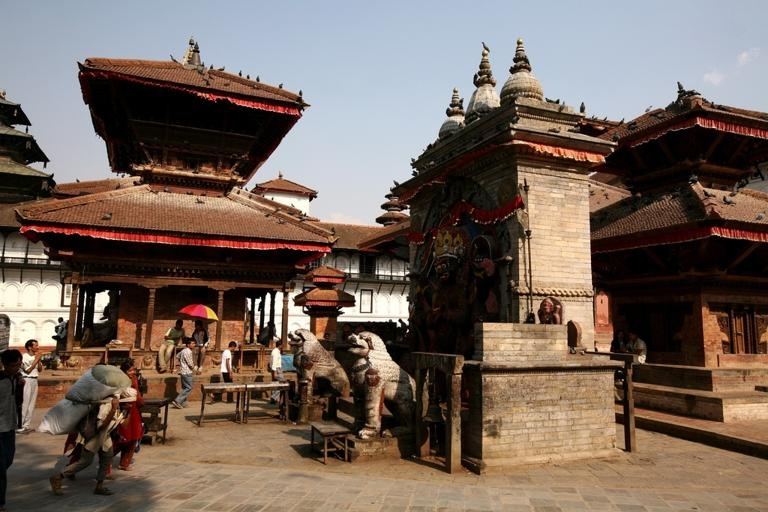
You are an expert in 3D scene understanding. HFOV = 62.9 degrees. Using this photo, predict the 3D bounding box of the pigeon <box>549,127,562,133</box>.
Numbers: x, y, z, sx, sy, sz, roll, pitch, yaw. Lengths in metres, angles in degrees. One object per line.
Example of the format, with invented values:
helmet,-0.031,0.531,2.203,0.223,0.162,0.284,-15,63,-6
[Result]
pigeon,5.377,-3.961,19.731,0.411,0.142,0.428,0,1,4

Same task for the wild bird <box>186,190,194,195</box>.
wild bird,-8.906,-2.927,28.997,0.207,0.109,0.268,2,-2,-29

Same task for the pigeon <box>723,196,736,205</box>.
pigeon,12.785,-2.042,23.344,0.393,0.136,0.486,3,23,17

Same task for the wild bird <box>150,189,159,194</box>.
wild bird,-10.253,-2.859,28.311,0.388,0.158,0.330,-7,12,-39

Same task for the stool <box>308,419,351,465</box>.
stool,-1.487,4.983,17.003,0.797,0.642,1.499,0,-4,-23

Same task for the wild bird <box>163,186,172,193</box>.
wild bird,-9.844,-2.994,28.708,0.502,0.396,0.209,-1,3,-11

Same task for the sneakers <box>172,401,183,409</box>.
sneakers,-7.204,5.236,22.023,0.128,0.150,0.363,-10,-46,45

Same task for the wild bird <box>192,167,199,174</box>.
wild bird,-8.787,-4.003,29.246,0.246,0.307,0.455,-3,10,-16
